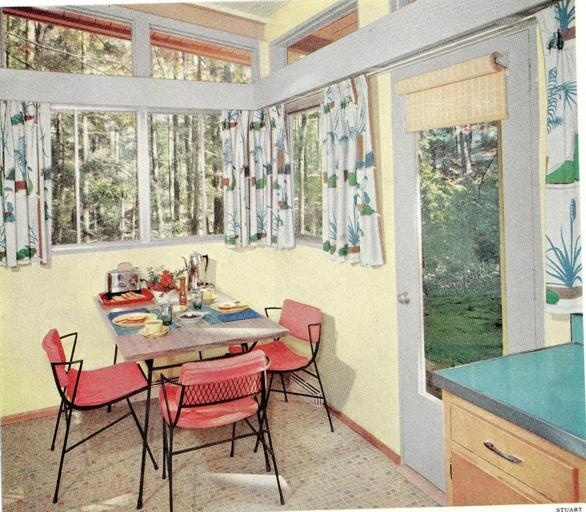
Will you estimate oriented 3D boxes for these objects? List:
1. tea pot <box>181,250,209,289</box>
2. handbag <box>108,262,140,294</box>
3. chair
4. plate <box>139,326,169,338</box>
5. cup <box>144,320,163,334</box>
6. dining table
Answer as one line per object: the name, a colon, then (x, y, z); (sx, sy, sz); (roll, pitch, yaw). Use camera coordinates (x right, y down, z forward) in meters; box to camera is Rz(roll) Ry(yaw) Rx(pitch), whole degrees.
tea pot: (-0.771, 0.112, 3.867); (0.230, 0.258, 0.180); (-4, 15, -28)
handbag: (-1.263, 0.175, 3.639); (0.252, 0.241, 0.090); (-2, 5, -42)
chair: (-0.575, 0.690, 2.873); (1.364, 0.632, 1.294); (-2, 5, -20)
plate: (-0.800, 0.434, 2.844); (0.164, 0.056, 0.118); (-5, 11, -23)
cup: (-0.815, 0.411, 2.850); (0.091, 0.058, 0.066); (-6, 14, -23)
dining table: (-0.554, 0.635, 2.899); (0.816, 0.254, 1.168); (-6, 11, -32)
